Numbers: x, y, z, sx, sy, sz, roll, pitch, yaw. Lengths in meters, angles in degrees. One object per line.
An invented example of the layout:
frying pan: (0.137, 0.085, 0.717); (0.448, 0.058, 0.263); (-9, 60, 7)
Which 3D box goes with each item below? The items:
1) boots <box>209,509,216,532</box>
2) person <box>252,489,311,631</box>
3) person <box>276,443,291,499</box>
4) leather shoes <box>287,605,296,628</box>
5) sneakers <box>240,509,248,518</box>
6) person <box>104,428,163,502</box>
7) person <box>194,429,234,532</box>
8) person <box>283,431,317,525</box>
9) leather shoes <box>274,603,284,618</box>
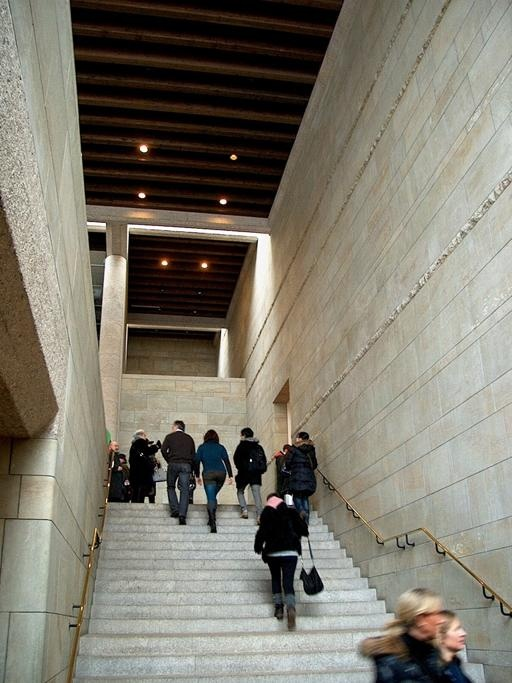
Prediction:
boots: (-0.716, 2.957, 6.969); (0.137, 0.339, 0.329); (2, -18, -5)
person: (0.272, 2.433, 4.719); (0.596, 1.376, 0.371); (-2, -17, 8)
person: (0.574, 2.917, 9.750); (0.369, 0.332, 1.477); (-7, -60, -8)
leather shoes: (0.375, 2.946, 4.503); (0.073, 0.270, 0.100); (0, -1, -2)
sneakers: (-0.246, 3.119, 7.656); (0.073, 0.178, 0.221); (-6, -14, 37)
person: (-2.490, 2.496, 8.499); (0.973, 1.394, 0.831); (7, -18, -18)
person: (-0.752, 2.381, 7.374); (0.640, 1.701, 1.062); (2, -17, -5)
person: (0.783, 2.400, 7.370); (0.517, 1.604, 0.509); (-20, -34, 40)
leather shoes: (0.257, 3.011, 4.718); (0.106, 0.174, 0.133); (0, -18, 3)
